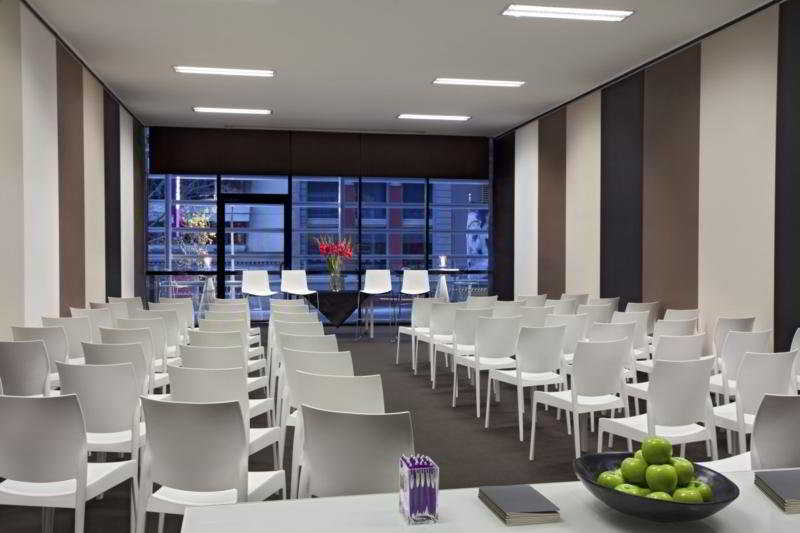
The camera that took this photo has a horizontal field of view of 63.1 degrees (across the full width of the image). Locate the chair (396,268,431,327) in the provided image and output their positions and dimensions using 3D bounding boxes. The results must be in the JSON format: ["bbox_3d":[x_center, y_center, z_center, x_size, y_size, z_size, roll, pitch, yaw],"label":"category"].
[{"bbox_3d":[0.247,0.325,12.116,0.476,0.863,0.574,0,-4,-5],"label":"chair"}]

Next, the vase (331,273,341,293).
[{"bbox_3d":[-1.104,0.256,11.566,0.238,0.416,0.255,-2,4,-21],"label":"vase"}]

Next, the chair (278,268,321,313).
[{"bbox_3d":[-1.827,0.296,11.546,0.483,0.862,0.595,0,-2,-22],"label":"chair"}]

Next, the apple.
[{"bbox_3d":[1.233,0.998,3.103,0.358,0.181,0.362,4,-4,-25],"label":"apple"}]

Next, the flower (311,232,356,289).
[{"bbox_3d":[-1.113,-0.112,12.032,0.930,1.416,0.937,-1,1,-21],"label":"flower"}]
